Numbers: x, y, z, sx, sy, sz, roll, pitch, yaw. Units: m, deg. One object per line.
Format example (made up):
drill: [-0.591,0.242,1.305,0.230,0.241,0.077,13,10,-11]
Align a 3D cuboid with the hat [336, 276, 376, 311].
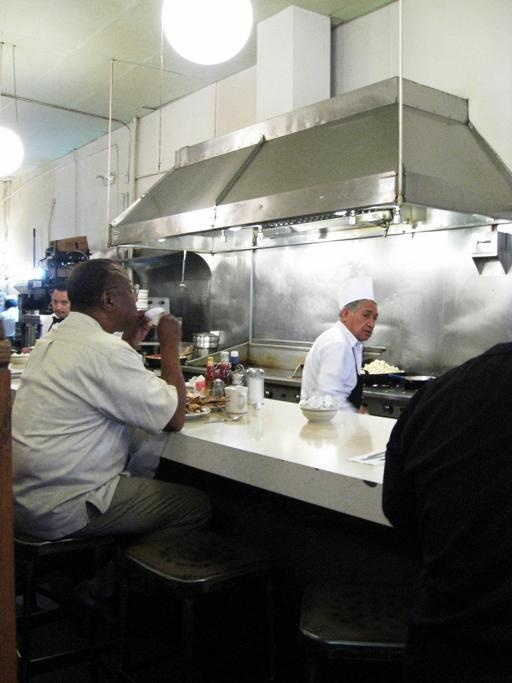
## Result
hat: [0.582,-0.287,3.482,0.204,0.150,0.179,2,5,14]

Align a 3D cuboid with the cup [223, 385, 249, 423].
cup: [-0.088,0.260,2.491,0.086,0.115,0.132,1,2,-10]

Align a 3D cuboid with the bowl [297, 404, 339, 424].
bowl: [0.242,0.293,2.354,0.136,0.073,0.111,1,4,4]

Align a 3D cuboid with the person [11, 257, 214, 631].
person: [-0.523,0.293,2.147,0.594,1.098,0.678,2,-5,27]

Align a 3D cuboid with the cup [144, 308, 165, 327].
cup: [-0.426,-0.105,2.482,0.093,0.085,0.086,5,8,-1]

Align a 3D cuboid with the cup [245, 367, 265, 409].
cup: [-0.007,0.218,2.790,0.074,0.178,0.152,1,4,-1]
